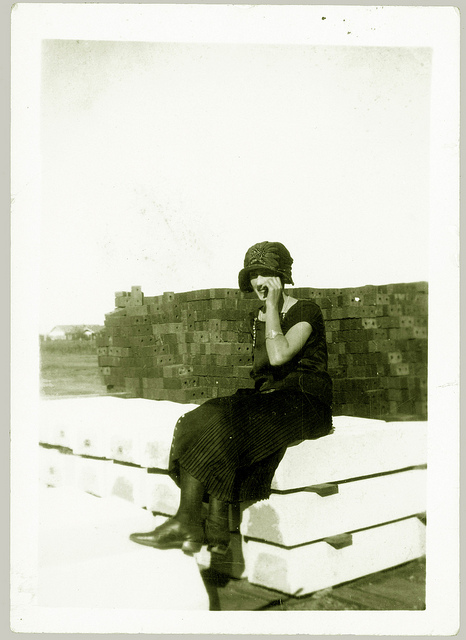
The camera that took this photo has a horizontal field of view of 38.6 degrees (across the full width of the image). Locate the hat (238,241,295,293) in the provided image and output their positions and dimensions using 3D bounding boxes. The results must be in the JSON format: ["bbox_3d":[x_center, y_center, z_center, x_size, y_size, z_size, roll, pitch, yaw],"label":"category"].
[{"bbox_3d":[0.138,-0.240,2.911,0.219,0.246,0.239,3,2,-23],"label":"hat"}]

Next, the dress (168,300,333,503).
[{"bbox_3d":[0.191,0.356,2.870,0.552,1.169,0.487,-5,-37,15],"label":"dress"}]
